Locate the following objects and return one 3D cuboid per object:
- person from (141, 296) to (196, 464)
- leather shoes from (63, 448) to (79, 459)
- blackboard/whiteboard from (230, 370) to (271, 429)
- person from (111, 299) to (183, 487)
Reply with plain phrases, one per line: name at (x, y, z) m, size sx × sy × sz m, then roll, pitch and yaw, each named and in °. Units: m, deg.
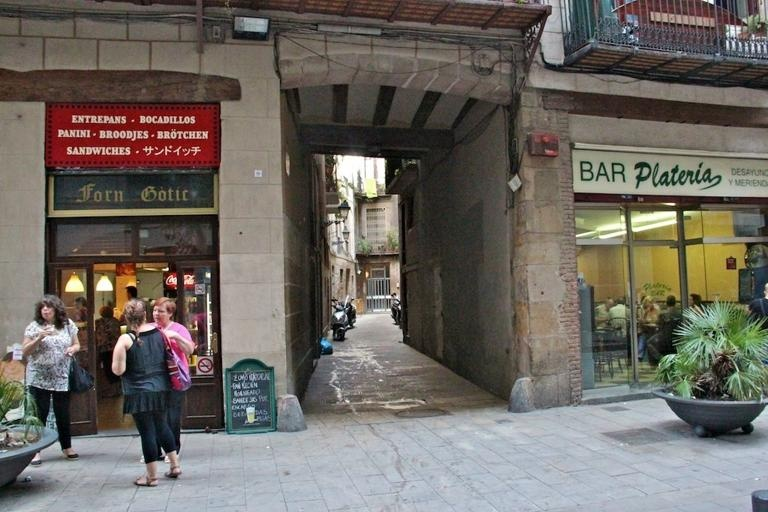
person at (-3.054, 1.746, 10.291) m, size 0.878 × 2.205 × 0.850 m, roll 2°, pitch -7°, yaw -7°
leather shoes at (-4.741, 3.011, 10.607) m, size 0.279 × 0.117 × 0.101 m, roll -4°, pitch -9°, yaw 38°
blackboard/whiteboard at (-2.266, 2.417, 11.681) m, size 1.021 × 1.331 × 0.187 m, roll 0°, pitch -7°, yaw -12°
person at (-3.348, 1.941, 10.116) m, size 1.003 × 2.408 × 0.945 m, roll 2°, pitch -5°, yaw -19°
